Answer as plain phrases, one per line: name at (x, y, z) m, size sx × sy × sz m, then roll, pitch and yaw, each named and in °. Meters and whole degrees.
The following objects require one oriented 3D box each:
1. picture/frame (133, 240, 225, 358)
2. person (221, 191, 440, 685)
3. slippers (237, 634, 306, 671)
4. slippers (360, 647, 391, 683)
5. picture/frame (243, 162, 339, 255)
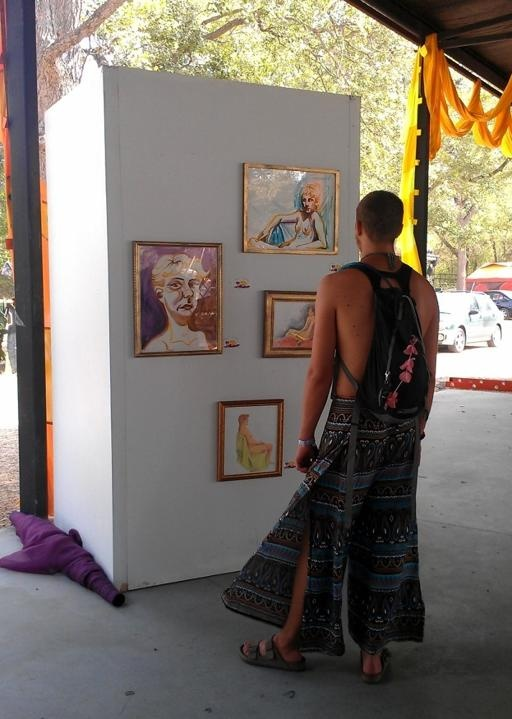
picture/frame at (-0.332, -0.262, 2.582) m, size 0.532 × 0.580 × 0.043 m, roll -1°, pitch 7°, yaw -24°
person at (0.243, 0.345, 1.985) m, size 0.618 × 1.334 × 0.359 m, roll 1°, pitch 2°, yaw 13°
slippers at (0.047, 0.958, 2.073) m, size 0.221 × 0.086 × 0.086 m, roll 5°, pitch 2°, yaw 28°
slippers at (0.380, 0.978, 2.013) m, size 0.050 × 0.053 × 0.142 m, roll 0°, pitch 5°, yaw 13°
picture/frame at (0.135, -0.667, 2.742) m, size 0.483 × 0.352 × 0.018 m, roll -1°, pitch 8°, yaw -24°
